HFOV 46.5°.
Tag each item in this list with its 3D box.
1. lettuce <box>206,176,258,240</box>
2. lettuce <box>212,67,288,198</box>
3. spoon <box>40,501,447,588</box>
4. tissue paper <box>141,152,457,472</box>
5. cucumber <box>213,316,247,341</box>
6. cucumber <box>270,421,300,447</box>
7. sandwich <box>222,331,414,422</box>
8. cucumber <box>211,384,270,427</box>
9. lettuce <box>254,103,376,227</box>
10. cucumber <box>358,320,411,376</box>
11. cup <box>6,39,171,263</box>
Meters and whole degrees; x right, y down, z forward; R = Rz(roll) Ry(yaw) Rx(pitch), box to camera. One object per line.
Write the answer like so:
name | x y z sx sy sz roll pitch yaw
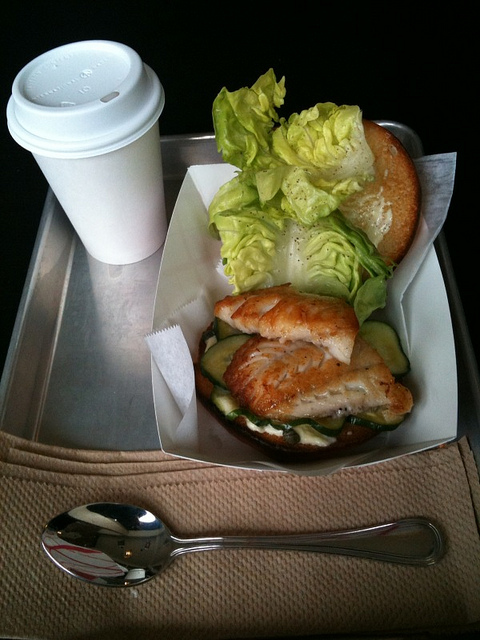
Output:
lettuce | -0.020 -0.254 1.248 0.078 0.131 0.108 10 26 20
lettuce | 0.005 -0.389 1.192 0.152 0.230 0.216 -6 46 -4
spoon | -0.005 0.354 0.875 0.612 0.078 0.127 -2 53 5
tissue paper | 0.101 0.004 1.161 0.577 0.154 0.668 -6 53 23
cucumber | -0.033 0.018 1.152 0.055 0.014 0.049 -2 50 -18
cucumber | 0.077 0.196 0.970 0.053 0.012 0.034 40 47 23
sandwich | 0.133 0.091 0.987 0.322 0.061 0.166 -2 58 0
cucumber | -0.010 0.160 1.002 0.041 0.067 0.133 -41 66 -20
lettuce | 0.155 -0.314 1.107 0.252 0.101 0.241 -17 96 13
cucumber | 0.282 0.047 1.068 0.066 0.019 0.131 -25 61 -14
cup | -0.298 -0.302 1.221 0.297 0.506 0.274 -1 59 2
